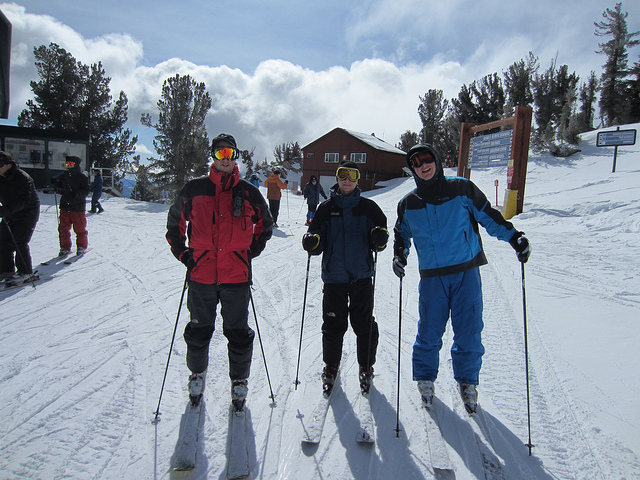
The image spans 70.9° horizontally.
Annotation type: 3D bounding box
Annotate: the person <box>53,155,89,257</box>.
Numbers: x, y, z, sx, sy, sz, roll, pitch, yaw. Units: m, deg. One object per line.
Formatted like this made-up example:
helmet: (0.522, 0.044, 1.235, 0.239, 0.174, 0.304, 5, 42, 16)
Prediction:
person: (-5.238, -0.689, 9.544, 0.635, 2.118, 0.421, -7, 11, -35)

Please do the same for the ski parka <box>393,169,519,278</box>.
ski parka: (1.483, -0.271, 5.504, 1.521, 1.370, 0.536, -7, 26, 31)

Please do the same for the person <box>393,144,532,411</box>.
person: (1.552, 0.405, 5.359, 1.366, 3.038, 0.639, 2, 9, 11)

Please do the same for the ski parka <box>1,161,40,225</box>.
ski parka: (-5.229, -0.811, 7.825, 0.584, 1.118, 0.545, -8, 12, -40)

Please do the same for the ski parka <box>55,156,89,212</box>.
ski parka: (-5.230, -1.179, 9.555, 0.571, 1.184, 0.540, -6, 11, -31)

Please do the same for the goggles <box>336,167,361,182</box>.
goggles: (0.342, -0.814, 5.590, 0.289, 0.178, 0.156, 0, 10, 2)

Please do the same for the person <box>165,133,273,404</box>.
person: (-1.131, 0.342, 5.223, 1.150, 3.066, 0.686, -3, 9, -14)

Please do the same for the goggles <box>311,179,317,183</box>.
goggles: (-0.216, -1.850, 14.111, 0.140, 0.082, 0.108, 0, 11, 1)

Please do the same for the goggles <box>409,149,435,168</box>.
goggles: (1.212, -0.977, 5.370, 0.285, 0.212, 0.109, 2, 10, 14)

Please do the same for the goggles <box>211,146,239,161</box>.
goggles: (-1.080, -0.991, 5.139, 0.271, 0.162, 0.091, 0, 9, 1)
